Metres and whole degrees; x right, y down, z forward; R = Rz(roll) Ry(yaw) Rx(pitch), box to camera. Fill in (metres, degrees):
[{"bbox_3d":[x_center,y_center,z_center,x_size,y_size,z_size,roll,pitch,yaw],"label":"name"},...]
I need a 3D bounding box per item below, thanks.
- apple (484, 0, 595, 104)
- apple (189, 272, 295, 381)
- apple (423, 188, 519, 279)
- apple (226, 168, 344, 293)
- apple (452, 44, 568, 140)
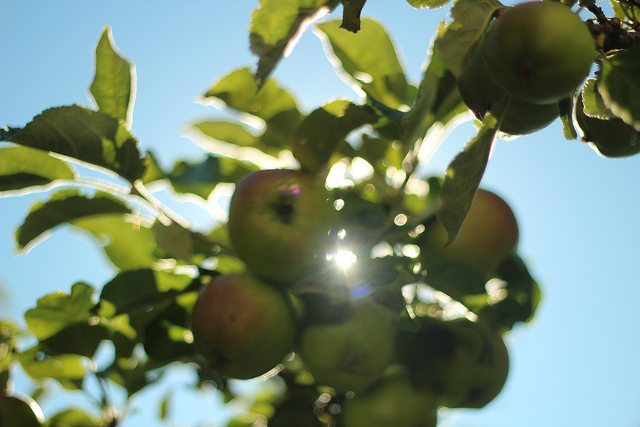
[{"bbox_3d":[0.605,-0.453,2.394,0.294,0.212,0.191,-5,-36,13],"label":"apple"},{"bbox_3d":[-0.228,0.332,2.742,0.267,0.362,0.309,10,-47,-1],"label":"apple"},{"bbox_3d":[0.426,0.125,2.752,0.261,0.358,0.266,8,-16,-30],"label":"apple"},{"bbox_3d":[-0.159,0.010,2.734,0.289,0.290,0.359,17,-58,42],"label":"apple"},{"bbox_3d":[0.533,-0.357,2.399,0.285,0.213,0.270,39,-7,-15],"label":"apple"}]
